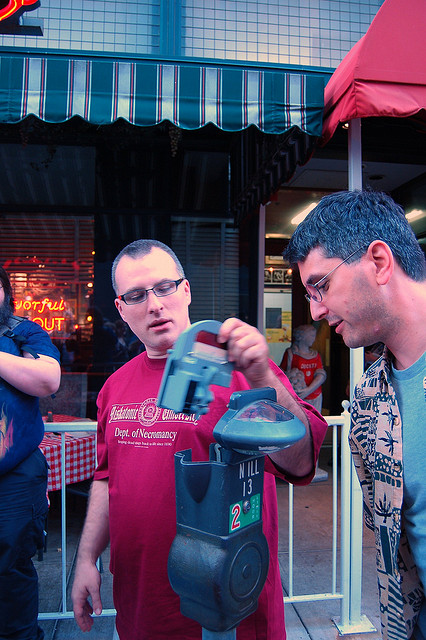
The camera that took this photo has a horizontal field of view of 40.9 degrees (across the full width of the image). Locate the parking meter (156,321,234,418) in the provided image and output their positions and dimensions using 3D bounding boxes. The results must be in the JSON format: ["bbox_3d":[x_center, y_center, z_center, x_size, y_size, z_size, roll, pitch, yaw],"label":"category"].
[{"bbox_3d":[-0.031,0.123,1.462,0.194,0.240,0.106,17,-6,-41],"label":"parking meter"}]
